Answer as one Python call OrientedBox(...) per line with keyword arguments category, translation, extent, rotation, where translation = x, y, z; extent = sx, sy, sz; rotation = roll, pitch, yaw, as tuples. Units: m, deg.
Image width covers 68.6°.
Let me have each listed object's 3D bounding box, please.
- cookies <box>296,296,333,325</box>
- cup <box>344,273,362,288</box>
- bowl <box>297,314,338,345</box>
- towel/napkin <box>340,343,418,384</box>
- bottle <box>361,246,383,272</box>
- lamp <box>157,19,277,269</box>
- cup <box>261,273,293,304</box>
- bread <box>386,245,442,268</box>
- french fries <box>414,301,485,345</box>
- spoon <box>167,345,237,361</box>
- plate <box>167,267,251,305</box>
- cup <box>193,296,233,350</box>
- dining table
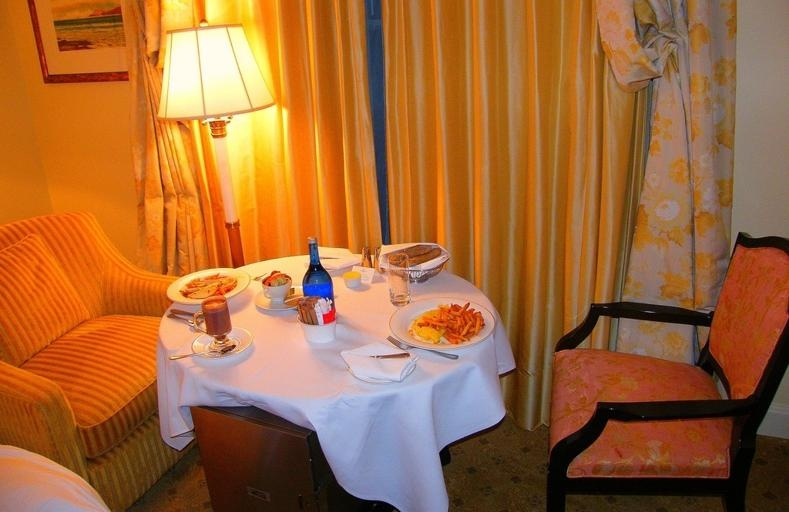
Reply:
OrientedBox(category="cookies", translation=(-0.313, 0.216, 2.290), extent=(0.135, 0.098, 0.045), rotation=(-1, 9, -1))
OrientedBox(category="cup", translation=(-0.189, 0.108, 2.652), extent=(0.070, 0.046, 0.065), rotation=(-2, 25, 1))
OrientedBox(category="bowl", translation=(-0.299, 0.288, 2.324), extent=(0.112, 0.064, 0.098), rotation=(-8, 16, -25))
OrientedBox(category="towel/napkin", translation=(-0.060, 0.406, 2.211), extent=(0.283, 0.081, 0.168), rotation=(-3, 21, 0))
OrientedBox(category="bottle", translation=(-0.107, 0.018, 2.816), extent=(0.126, 0.118, 0.049), rotation=(11, 35, 19))
OrientedBox(category="lamp", translation=(-0.932, -0.571, 3.178), extent=(0.598, 1.293, 0.298), rotation=(-6, 22, -6))
OrientedBox(category="cup", translation=(-0.517, 0.140, 2.614), extent=(0.116, 0.095, 0.139), rotation=(7, 24, 17))
OrientedBox(category="bread", translation=(0.090, -0.023, 2.633), extent=(0.183, 0.036, 0.120), rotation=(-12, 35, -16))
OrientedBox(category="french fries", translation=(0.210, 0.248, 2.329), extent=(0.192, 0.062, 0.184), rotation=(-13, 30, -9))
OrientedBox(category="spoon", translation=(-0.731, 0.383, 2.300), extent=(0.160, 0.018, 0.105), rotation=(-12, 16, -28))
OrientedBox(category="plate", translation=(-0.824, 0.148, 2.677), extent=(0.332, 0.084, 0.330), rotation=(-4, 14, 3))
OrientedBox(category="cup", translation=(-0.721, 0.276, 2.336), extent=(0.148, 0.192, 0.109), rotation=(-4, 13, 3))
OrientedBox(category="dining table", translation=(-0.254, 0.594, 2.402), extent=(1.348, 0.649, 0.641), rotation=(6, 23, 23))
